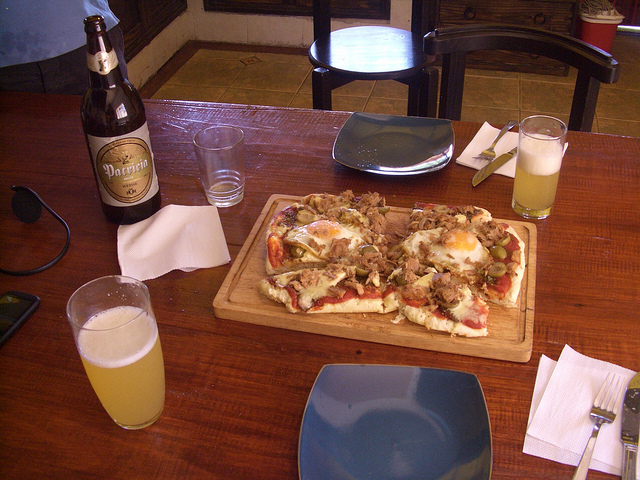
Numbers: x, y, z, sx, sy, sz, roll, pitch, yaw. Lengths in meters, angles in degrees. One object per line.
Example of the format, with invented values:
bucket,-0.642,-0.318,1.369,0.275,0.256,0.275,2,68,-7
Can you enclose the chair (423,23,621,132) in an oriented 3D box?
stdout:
chair,0.732,-0.668,2.018,0.573,0.511,0.836,15,29,30

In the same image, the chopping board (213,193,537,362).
chopping board,0.136,0.074,1.233,0.775,0.056,0.521,3,42,11

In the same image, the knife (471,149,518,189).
knife,0.507,-0.203,1.460,0.030,0.012,0.266,31,45,32
